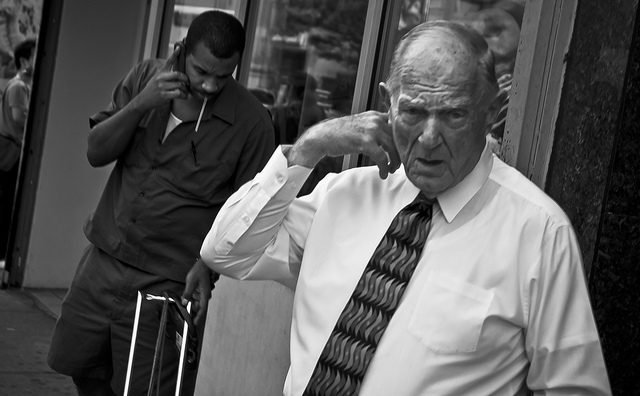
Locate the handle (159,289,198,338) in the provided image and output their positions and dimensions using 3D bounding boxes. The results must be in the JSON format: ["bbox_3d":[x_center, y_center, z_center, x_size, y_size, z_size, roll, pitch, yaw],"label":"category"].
[{"bbox_3d":[-0.683,0.542,3.182,0.058,0.156,0.337,3,5,-44],"label":"handle"}]

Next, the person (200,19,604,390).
[{"bbox_3d":[0.433,0.104,2.985,1.669,1.700,0.526,11,9,5],"label":"person"}]

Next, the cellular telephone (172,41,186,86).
[{"bbox_3d":[-0.881,-0.897,4.325,0.099,0.194,0.105,9,9,-5],"label":"cellular telephone"}]

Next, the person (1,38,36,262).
[{"bbox_3d":[-3.441,-0.550,7.639,0.277,2.515,0.452,4,10,-29],"label":"person"}]
